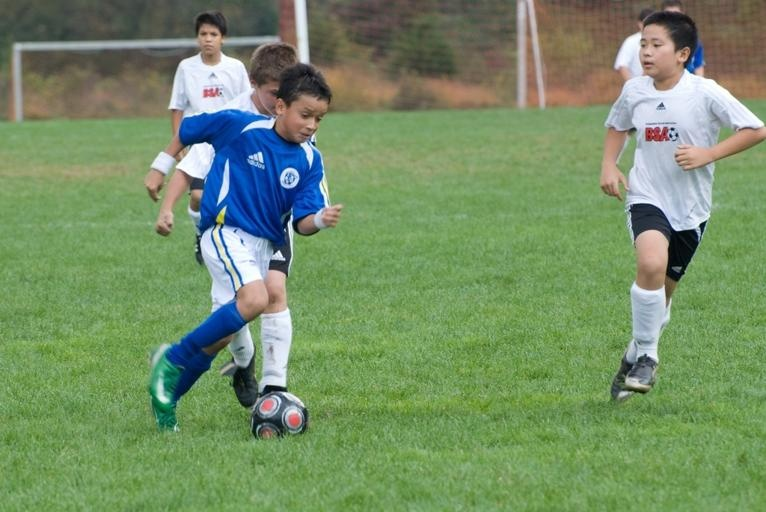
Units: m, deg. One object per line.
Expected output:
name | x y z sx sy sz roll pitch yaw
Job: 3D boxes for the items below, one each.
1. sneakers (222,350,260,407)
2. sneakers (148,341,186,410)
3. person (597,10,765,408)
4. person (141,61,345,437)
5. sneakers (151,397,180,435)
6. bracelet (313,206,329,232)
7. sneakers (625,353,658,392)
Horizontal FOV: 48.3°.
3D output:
sneakers | -0.831 0.718 5.097 0.176 0.380 0.131 -25 19 -21
sneakers | -1.195 0.643 4.762 0.271 0.391 0.132 5 -4 17
person | 1.708 -0.319 5.109 0.790 2.243 0.720 -1 9 -7
person | -0.790 -0.054 4.783 0.980 2.011 0.437 0 9 -5
sneakers | -1.230 0.925 4.804 0.153 0.241 0.146 -1 -5 21
bracelet | -0.346 -0.204 4.670 0.094 0.080 0.104 -16 -15 5
sneakers | 1.494 0.706 4.972 0.149 0.242 0.225 5 10 27
